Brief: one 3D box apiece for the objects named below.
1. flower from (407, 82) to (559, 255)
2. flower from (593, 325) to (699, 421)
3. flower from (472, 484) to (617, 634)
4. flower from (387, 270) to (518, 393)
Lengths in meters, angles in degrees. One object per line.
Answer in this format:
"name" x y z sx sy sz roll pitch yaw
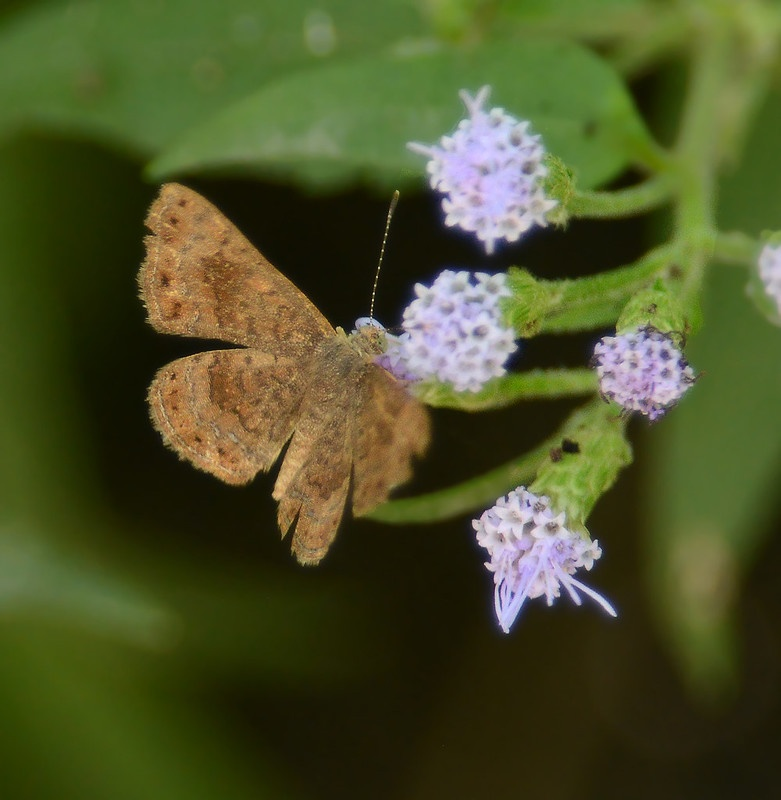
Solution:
"flower" 0.169 -0.396 1.829 0.199 0.172 0.186 -16 56 -1
"flower" 0.421 -0.045 1.770 0.144 0.062 0.142 33 90 1
"flower" 0.262 0.266 1.950 0.233 0.138 0.252 41 58 9
"flower" 0.110 -0.094 1.809 0.185 0.076 0.214 7 90 11
